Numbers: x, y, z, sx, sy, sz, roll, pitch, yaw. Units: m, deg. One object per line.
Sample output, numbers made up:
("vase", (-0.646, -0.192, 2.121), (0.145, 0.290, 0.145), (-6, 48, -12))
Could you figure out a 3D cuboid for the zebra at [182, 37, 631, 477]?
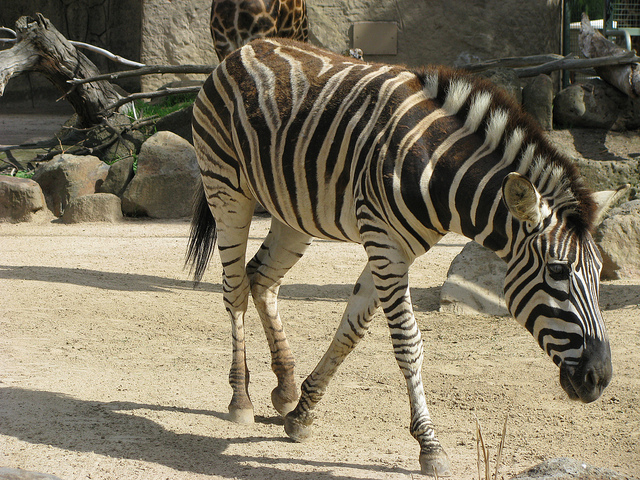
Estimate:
("zebra", (0.460, 0.121, 10.007), (3.730, 3.516, 2.099), (2, -9, 43))
